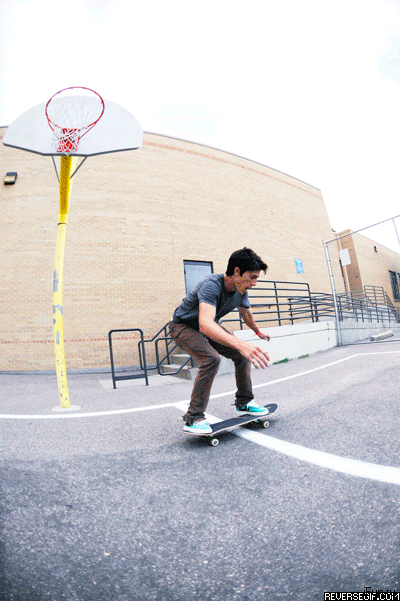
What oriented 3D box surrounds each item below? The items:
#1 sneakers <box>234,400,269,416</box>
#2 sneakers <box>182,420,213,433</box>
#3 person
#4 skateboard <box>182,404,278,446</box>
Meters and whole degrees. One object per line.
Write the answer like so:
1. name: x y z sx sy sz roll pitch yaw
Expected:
1. sneakers: 0.428 0.899 3.541 0.258 0.109 0.099 -2 -5 -6
2. sneakers: -0.015 0.929 3.130 0.083 0.082 0.202 17 -27 -42
3. person: 0.271 0.335 3.558 0.959 1.305 1.152 3 0 26
4. skateboard: 0.336 0.953 3.379 0.852 0.128 0.197 -1 -2 -36
